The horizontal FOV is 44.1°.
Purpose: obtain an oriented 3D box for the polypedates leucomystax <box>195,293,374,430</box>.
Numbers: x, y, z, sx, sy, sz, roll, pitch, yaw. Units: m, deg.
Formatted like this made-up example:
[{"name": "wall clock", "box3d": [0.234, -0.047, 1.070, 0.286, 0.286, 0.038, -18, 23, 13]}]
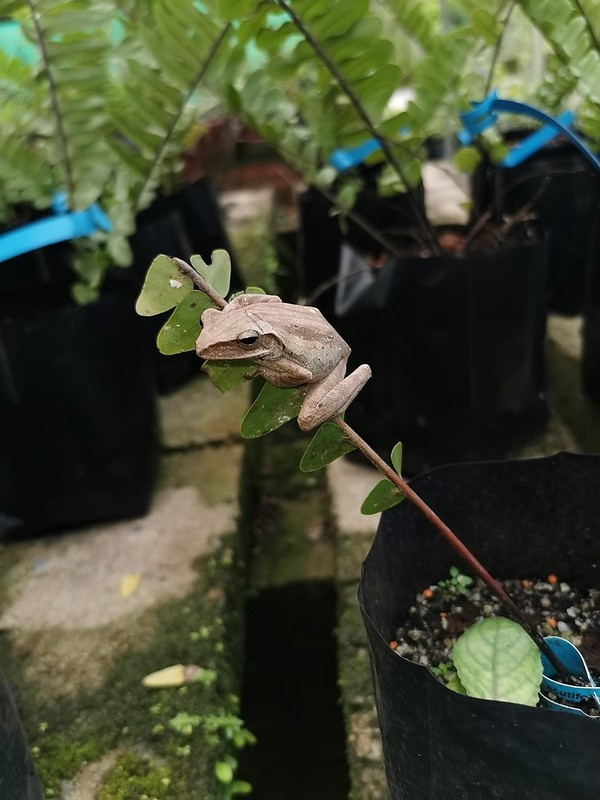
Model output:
[{"name": "polypedates leucomystax", "box3d": [-0.009, -0.050, 0.685, 0.143, 0.075, 0.138, 23, 39, 12]}]
